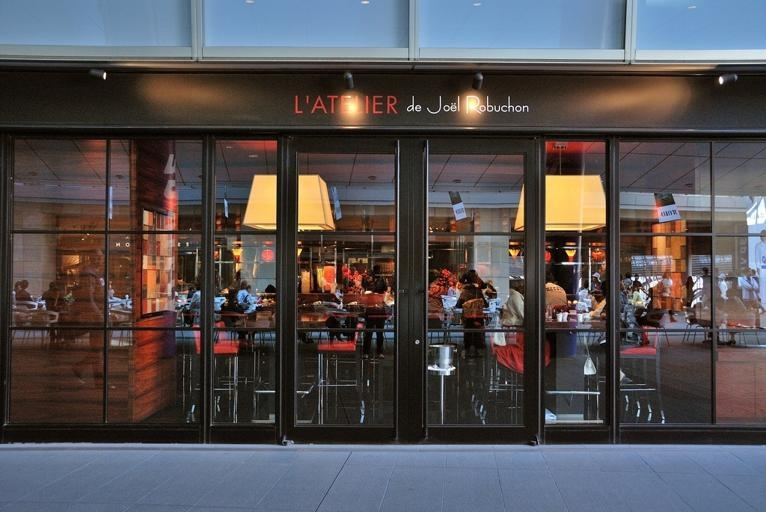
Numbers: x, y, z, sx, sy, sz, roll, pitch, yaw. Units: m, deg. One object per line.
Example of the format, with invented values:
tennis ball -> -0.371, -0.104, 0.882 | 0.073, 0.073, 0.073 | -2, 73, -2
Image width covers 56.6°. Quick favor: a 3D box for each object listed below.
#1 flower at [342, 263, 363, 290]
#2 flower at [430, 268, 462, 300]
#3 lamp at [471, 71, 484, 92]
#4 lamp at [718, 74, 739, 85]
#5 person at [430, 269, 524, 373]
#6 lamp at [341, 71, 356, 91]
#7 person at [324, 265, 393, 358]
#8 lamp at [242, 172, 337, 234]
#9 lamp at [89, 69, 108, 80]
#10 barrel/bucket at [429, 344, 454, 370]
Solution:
flower -> -0.473, 0.314, 10.652 | 0.406, 0.354, 0.105 | 3, 7, 11
flower -> 0.913, 0.420, 10.603 | 0.474, 0.445, 0.107 | 1, -6, -26
lamp -> 1.387, -2.558, 10.418 | 0.182, 0.235, 0.170 | -2, -5, 7
lamp -> 5.081, -2.593, 10.401 | 0.327, 0.151, 0.178 | -1, -5, 1
person -> 1.608, 0.930, 10.461 | 1.744, 1.382, 0.382 | 2, 1, 5
lamp -> -0.504, -2.581, 10.403 | 0.166, 0.290, 0.221 | -1, -5, -4
person -> -0.358, 0.825, 10.625 | 0.801, 1.290, 1.431 | 2, -2, -22
lamp -> -1.388, -0.774, 10.963 | 1.243, 0.663, 0.923 | 1, 2, 3
lamp -> -4.181, -2.667, 10.398 | 0.270, 0.146, 0.151 | 8, 4, -6
barrel/bucket -> 0.859, 1.502, 10.561 | 0.380, 0.283, 0.413 | 0, -5, 0
